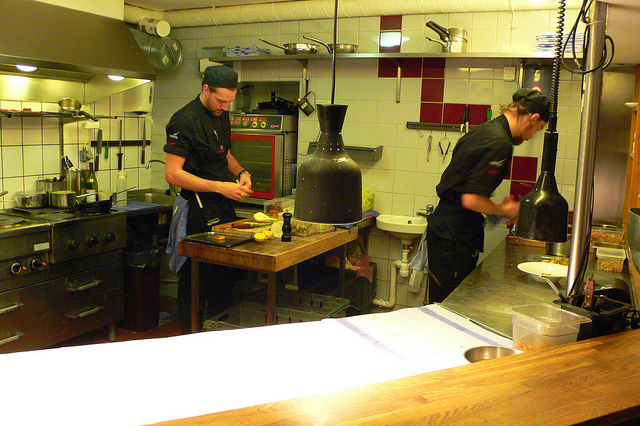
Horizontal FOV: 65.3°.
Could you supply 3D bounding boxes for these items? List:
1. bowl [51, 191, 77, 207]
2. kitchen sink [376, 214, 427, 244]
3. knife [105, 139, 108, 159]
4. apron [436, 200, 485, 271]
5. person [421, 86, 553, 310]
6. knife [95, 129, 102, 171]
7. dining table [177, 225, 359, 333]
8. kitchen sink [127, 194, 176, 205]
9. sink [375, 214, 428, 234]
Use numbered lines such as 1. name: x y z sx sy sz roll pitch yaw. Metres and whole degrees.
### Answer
1. bowl: -2.121 -0.110 4.118 0.166 0.092 0.119 0 2 -30
2. kitchen sink: 0.785 0.202 4.603 0.447 0.222 0.292 2 6 13
3. knife: -2.172 -0.632 5.075 0.019 0.158 0.028 4 9 23
4. apron: 0.942 0.150 3.354 0.315 0.463 0.170 1 8 8
5. person: 1.071 0.015 3.354 0.747 1.646 1.608 2 8 12
6. knife: -2.194 -0.620 4.948 0.064 0.412 0.034 6 6 35
7. dining table: -0.328 0.573 4.035 0.729 0.788 1.762 6 5 20
8. kitchen sink: -1.728 -0.147 5.203 0.553 0.076 0.190 4 9 22
9. sink: 0.743 0.113 4.640 0.485 0.187 0.360 3 8 18
